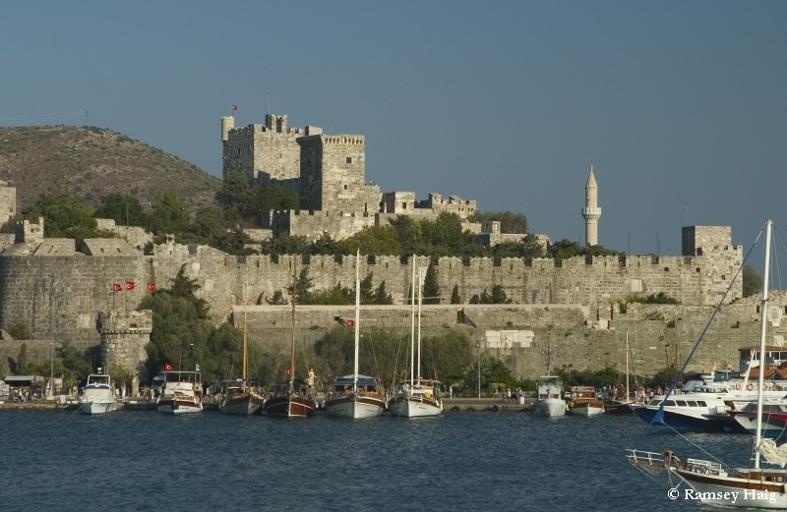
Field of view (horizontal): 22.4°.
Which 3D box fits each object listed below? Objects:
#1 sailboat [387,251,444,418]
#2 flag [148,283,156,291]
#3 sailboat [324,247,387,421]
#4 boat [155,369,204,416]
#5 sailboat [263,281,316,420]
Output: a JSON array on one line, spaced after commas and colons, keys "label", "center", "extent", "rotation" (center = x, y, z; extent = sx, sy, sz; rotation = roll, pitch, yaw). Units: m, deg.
[{"label": "sailboat", "center": [1.797, 5.752, 156.007], "extent": [4.180, 13.747, 20.959], "rotation": [1, -5, 1]}, {"label": "flag", "center": [-18.912, 2.207, 155.401], "extent": [0.546, 0.542, 0.081], "rotation": [3, -18, -31]}, {"label": "sailboat", "center": [-2.945, 5.702, 154.724], "extent": [4.512, 13.729, 20.381], "rotation": [1, -5, -2]}, {"label": "boat", "center": [-15.761, 9.873, 148.079], "extent": [3.273, 3.443, 4.382], "rotation": [1, -5, -4]}, {"label": "sailboat", "center": [-7.919, 9.772, 149.379], "extent": [3.637, 12.544, 9.550], "rotation": [4, -5, -8]}]
